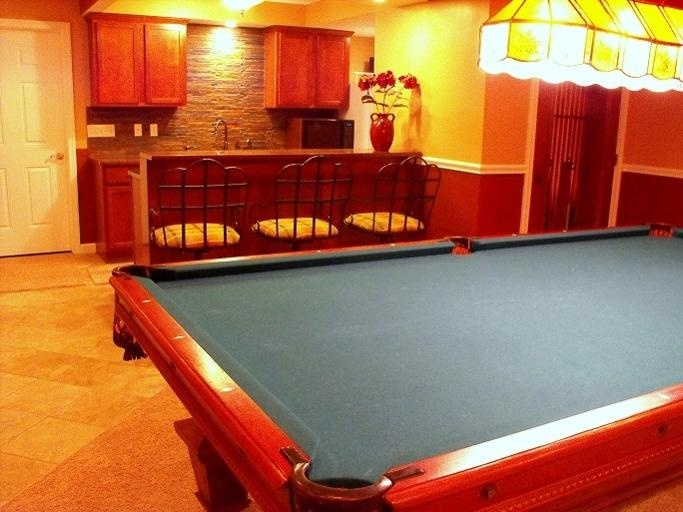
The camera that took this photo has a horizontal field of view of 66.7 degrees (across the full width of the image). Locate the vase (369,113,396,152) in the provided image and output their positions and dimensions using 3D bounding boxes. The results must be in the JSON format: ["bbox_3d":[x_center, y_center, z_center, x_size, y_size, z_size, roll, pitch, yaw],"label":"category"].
[{"bbox_3d":[0.391,-1.203,5.023,0.212,0.369,0.448,0,12,4],"label":"vase"}]

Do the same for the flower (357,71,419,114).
[{"bbox_3d":[0.410,-1.588,4.955,0.281,0.295,0.325,-11,14,-28],"label":"flower"}]

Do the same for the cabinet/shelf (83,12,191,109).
[{"bbox_3d":[-2.049,-2.029,5.523,1.035,0.931,0.401,1,6,-4],"label":"cabinet/shelf"}]

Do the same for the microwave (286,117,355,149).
[{"bbox_3d":[-0.263,-1.482,6.267,0.666,0.468,0.434,-3,17,-15],"label":"microwave"}]

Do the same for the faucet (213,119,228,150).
[{"bbox_3d":[-1.419,-1.435,6.096,0.168,0.350,0.187,-3,12,-13],"label":"faucet"}]

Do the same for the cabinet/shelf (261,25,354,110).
[{"bbox_3d":[-0.421,-2.289,6.325,1.063,0.917,0.420,-9,25,-28],"label":"cabinet/shelf"}]
